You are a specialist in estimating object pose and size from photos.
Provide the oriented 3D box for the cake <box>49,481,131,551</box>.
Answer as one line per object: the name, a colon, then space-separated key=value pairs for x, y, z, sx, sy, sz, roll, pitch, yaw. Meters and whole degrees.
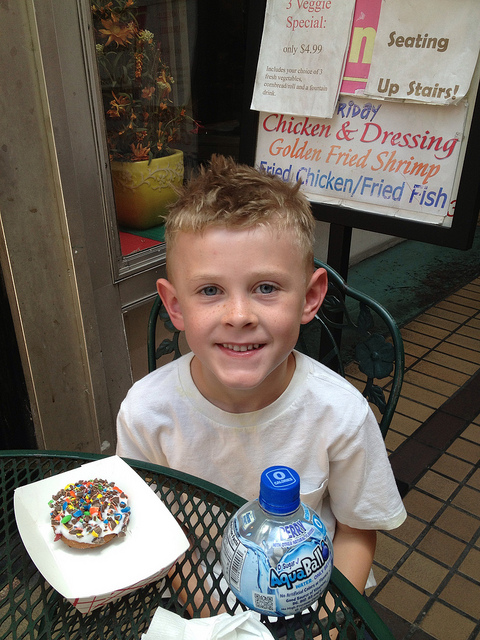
cake: x=-0.195 y=0.244 z=0.578 sx=0.095 sy=0.036 sz=0.103 roll=-2 pitch=24 yaw=-40

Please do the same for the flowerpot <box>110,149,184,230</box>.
flowerpot: x=-0.370 y=-0.535 z=1.955 sx=0.294 sy=0.291 sz=0.363 roll=19 pitch=16 yaw=23

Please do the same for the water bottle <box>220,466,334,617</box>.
water bottle: x=0.035 y=0.206 z=0.430 sx=0.101 sy=0.136 sz=0.103 roll=1 pitch=21 yaw=0
